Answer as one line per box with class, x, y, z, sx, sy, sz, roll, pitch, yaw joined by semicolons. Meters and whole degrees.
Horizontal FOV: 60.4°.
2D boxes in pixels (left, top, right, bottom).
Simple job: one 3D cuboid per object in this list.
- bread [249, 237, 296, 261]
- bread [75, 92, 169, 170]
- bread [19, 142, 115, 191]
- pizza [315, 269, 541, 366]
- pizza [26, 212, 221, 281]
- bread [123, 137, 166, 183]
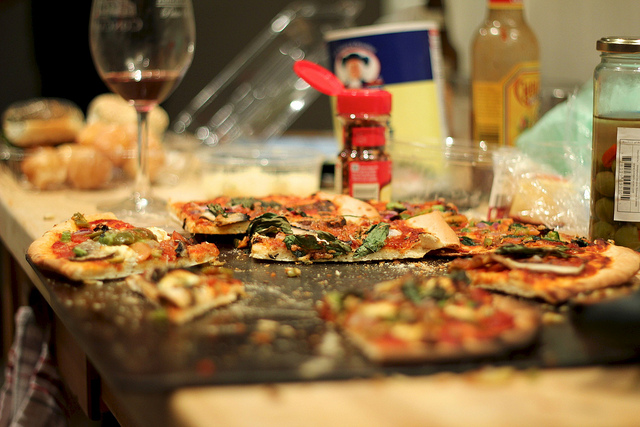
bread;-0.061;0.048;0.740;0.059;0.025;0.028;-1;18;1
bread;-0.458;-0.188;1.281;0.192;0.101;0.216;11;54;-12
bread;-0.530;-0.097;1.158;0.178;0.101;0.141;-15;10;-25
pizza;0.108;0.093;0.610;0.220;0.045;0.281;-6;9;1
pizza;-0.257;0.040;0.732;0.234;0.035;0.205;8;15;6
bread;-0.384;-0.127;1.275;0.095;0.108;0.093;-1;4;3
